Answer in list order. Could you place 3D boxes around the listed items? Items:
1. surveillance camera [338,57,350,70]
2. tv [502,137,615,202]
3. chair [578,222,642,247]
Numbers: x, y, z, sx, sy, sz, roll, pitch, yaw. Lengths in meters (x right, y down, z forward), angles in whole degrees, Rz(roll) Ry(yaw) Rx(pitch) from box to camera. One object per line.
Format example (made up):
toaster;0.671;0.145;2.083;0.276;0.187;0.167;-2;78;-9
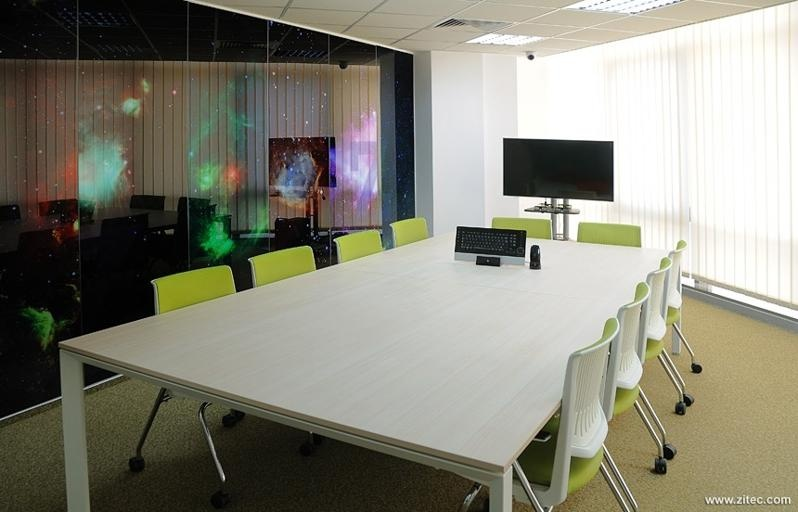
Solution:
surveillance camera;-0.749;-2.610;7.450;0.123;0.104;0.119;-3;8;-35
tv;2.327;-1.252;7.989;1.566;0.960;0.032;6;36;25
chair;2.311;-0.210;6.049;0.372;0.416;0.672;-4;-3;32
